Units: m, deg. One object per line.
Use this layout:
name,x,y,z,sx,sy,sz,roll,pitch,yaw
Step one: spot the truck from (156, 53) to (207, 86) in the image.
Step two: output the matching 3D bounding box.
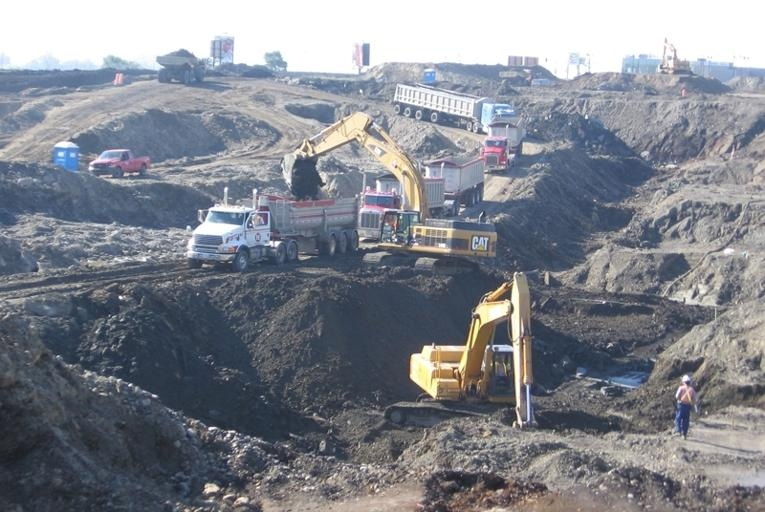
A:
truck,-18.894,-17.315,127.575,2.333,3.010,4.948,14,24,36

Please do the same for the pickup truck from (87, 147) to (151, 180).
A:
pickup truck,-18.466,-6.399,96.274,1.903,2.001,4.193,11,22,30

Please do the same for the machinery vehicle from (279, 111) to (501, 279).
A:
machinery vehicle,0.455,-4.694,86.917,13.245,8.035,3.859,7,12,24

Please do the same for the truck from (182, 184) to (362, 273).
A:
truck,-6.559,-1.725,84.142,11.090,5.255,2.018,-14,23,-35

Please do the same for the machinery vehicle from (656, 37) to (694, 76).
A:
machinery vehicle,34.743,-23.176,163.669,3.842,3.376,3.926,7,20,21

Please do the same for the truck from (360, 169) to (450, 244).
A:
truck,1.092,-3.356,90.549,2.821,3.777,7.284,6,11,39

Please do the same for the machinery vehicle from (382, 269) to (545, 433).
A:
machinery vehicle,5.477,4.817,73.805,6.786,8.133,2.248,9,21,25
